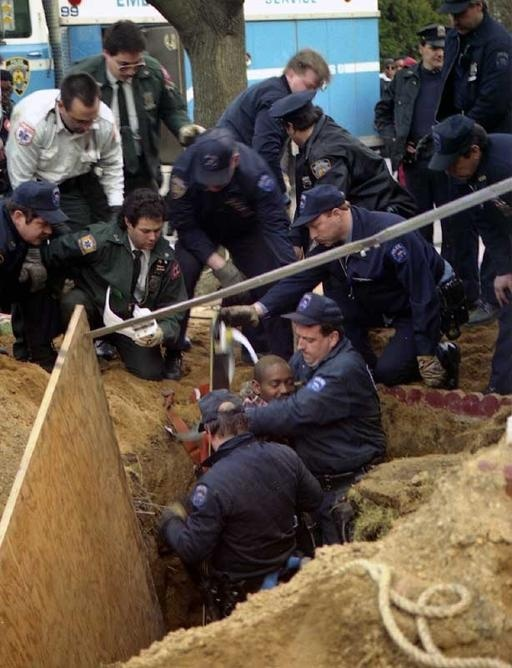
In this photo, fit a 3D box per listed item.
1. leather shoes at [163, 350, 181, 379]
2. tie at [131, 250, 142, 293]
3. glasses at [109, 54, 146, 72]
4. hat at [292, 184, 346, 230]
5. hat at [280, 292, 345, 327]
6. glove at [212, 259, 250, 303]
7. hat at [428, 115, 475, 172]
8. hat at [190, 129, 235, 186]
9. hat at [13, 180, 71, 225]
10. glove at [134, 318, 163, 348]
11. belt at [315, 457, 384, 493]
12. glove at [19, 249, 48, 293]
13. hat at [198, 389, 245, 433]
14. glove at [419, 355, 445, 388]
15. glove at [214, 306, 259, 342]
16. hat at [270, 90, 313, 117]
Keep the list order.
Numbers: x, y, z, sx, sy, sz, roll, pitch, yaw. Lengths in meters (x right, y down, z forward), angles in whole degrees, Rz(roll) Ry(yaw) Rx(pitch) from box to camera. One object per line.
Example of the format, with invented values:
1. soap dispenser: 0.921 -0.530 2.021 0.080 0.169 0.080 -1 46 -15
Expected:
1. leather shoes: -0.550 0.216 4.365 0.104 0.178 0.155 -4 17 -2
2. tie: -0.723 -0.371 4.031 0.057 0.250 0.070 16 14 36
3. glasses: -0.833 -1.707 4.259 0.233 0.123 0.235 -6 17 -10
4. hat: 0.356 -0.732 3.835 0.294 0.218 0.245 -1 17 8
5. hat: 0.269 -0.114 3.486 0.230 0.159 0.264 -17 22 -40
6. glove: -0.170 -0.319 4.557 0.224 0.378 0.652 -4 16 -1
7. hat: 1.139 -1.116 3.913 0.246 0.303 0.204 3 18 19
8. hat: -0.251 -1.008 3.887 0.239 0.329 0.189 4 -16 3
9. hat: -1.148 -0.721 3.622 0.314 0.176 0.198 25 16 -10
10. glove: -0.623 0.014 3.974 0.130 0.142 0.165 24 48 27
11. belt: 0.456 0.722 3.404 0.210 0.060 0.149 -24 6 -4
12. glove: -1.252 -0.352 3.776 0.184 0.198 0.086 2 9 3
13. hat: -0.160 0.364 2.993 0.188 0.189 0.214 -5 17 -6
14. glove: 1.063 0.241 4.096 0.151 0.239 0.147 5 19 24
15. glove: -0.129 -0.106 4.199 0.243 0.121 0.096 5 8 -26
16. hat: 0.222 -1.425 4.115 0.214 0.058 0.195 -22 23 -8
